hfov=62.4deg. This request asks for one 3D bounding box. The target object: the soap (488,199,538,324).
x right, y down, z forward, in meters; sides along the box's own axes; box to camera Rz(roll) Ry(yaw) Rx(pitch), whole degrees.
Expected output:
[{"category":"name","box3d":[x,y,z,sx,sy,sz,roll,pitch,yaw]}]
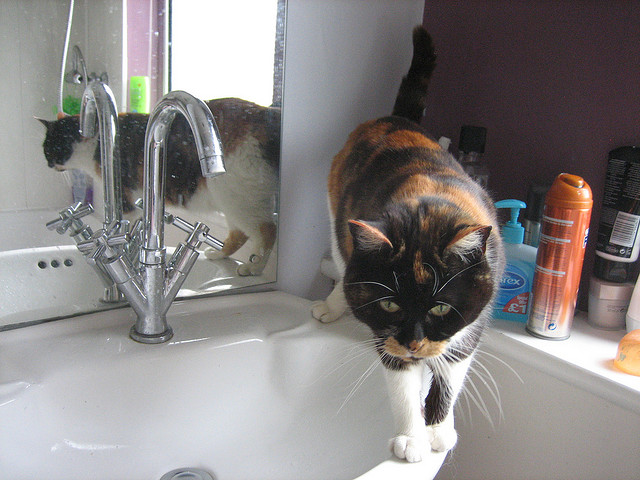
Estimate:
[{"category":"soap","box3d":[0.358,0.046,0.998,0.104,0.243,0.064,3,7,16]}]

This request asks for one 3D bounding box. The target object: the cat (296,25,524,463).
[{"category":"cat","box3d":[0.209,0.009,1.268,0.385,0.695,1.005,5,27,1]}]

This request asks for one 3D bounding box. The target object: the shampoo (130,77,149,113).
[{"category":"shampoo","box3d":[-0.319,-0.255,0.934,0.032,0.059,0.011,-3,19,-19]}]

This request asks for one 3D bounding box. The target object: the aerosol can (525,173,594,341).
[{"category":"aerosol can","box3d":[0.416,0.034,0.914,0.080,0.284,0.059,10,19,22]}]
